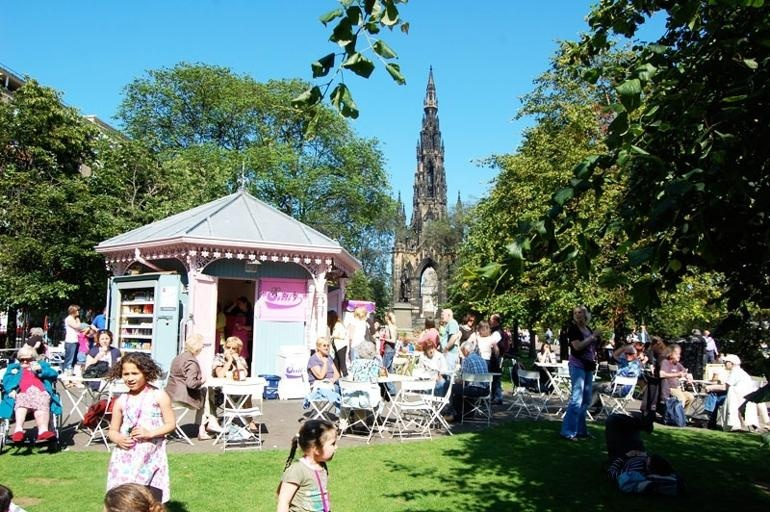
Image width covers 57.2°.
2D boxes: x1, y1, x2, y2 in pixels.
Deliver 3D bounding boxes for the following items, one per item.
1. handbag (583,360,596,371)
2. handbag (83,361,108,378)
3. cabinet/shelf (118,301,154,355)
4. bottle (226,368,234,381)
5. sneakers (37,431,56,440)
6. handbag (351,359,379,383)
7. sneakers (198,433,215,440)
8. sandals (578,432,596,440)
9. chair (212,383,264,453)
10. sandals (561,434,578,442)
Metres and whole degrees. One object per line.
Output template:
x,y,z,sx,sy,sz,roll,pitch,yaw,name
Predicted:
4.131,2.221,14.291,0.231,0.236,0.238,0,-7,5,handbag
-6.157,2.462,15.130,0.535,0.238,0.635,10,4,-38,handbag
-6.794,1.972,19.363,1.165,1.672,0.856,-3,-10,12,cabinet/shelf
-3.201,2.508,14.740,0.174,0.209,0.178,1,-8,-9,bottle
-6.194,3.320,12.964,0.320,0.134,0.142,-4,-5,-2,sneakers
-0.407,2.355,14.500,0.624,0.497,0.473,1,-11,-4,handbag
-3.643,3.676,14.380,0.143,0.107,0.228,-2,-7,36,sneakers
4.128,3.678,14.425,0.477,0.142,0.255,11,-16,-43,sandals
-2.874,3.047,14.054,0.782,1.137,0.677,6,3,-11,chair
3.717,3.689,14.280,0.324,0.138,0.254,-2,-12,14,sandals
